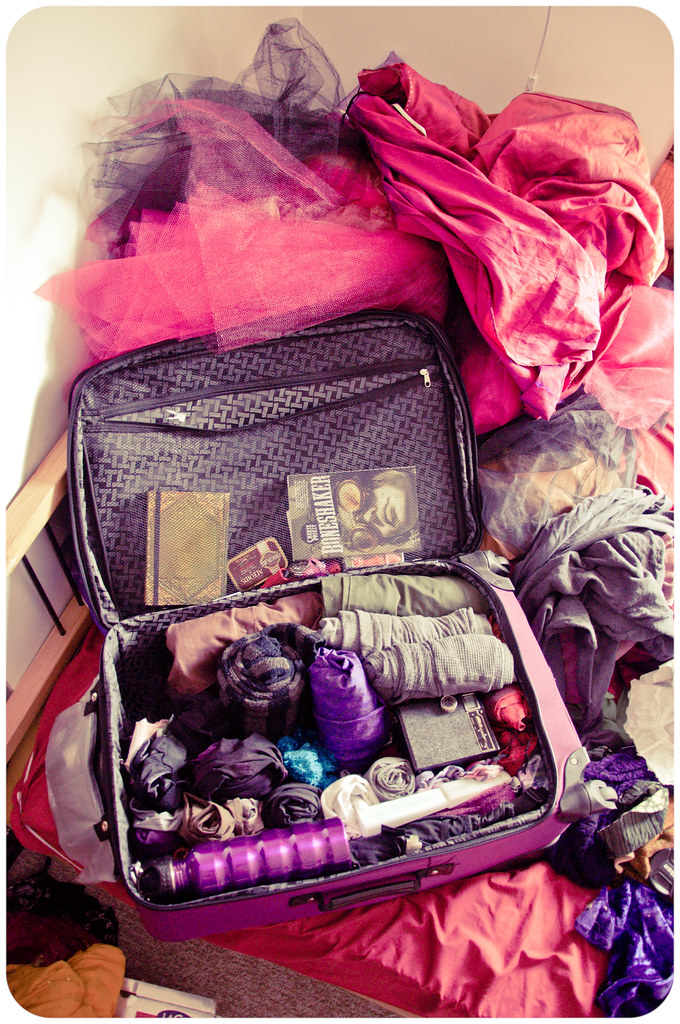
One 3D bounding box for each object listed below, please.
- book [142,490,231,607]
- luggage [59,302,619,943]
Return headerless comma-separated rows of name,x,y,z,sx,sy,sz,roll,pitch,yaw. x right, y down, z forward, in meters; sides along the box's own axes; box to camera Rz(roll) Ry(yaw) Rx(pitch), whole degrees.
book,-0.212,0.048,1.128,0.137,0.144,0.034,-7,6,-38
luggage,-0.069,0.098,1.299,0.683,0.774,0.395,-14,-6,-10
